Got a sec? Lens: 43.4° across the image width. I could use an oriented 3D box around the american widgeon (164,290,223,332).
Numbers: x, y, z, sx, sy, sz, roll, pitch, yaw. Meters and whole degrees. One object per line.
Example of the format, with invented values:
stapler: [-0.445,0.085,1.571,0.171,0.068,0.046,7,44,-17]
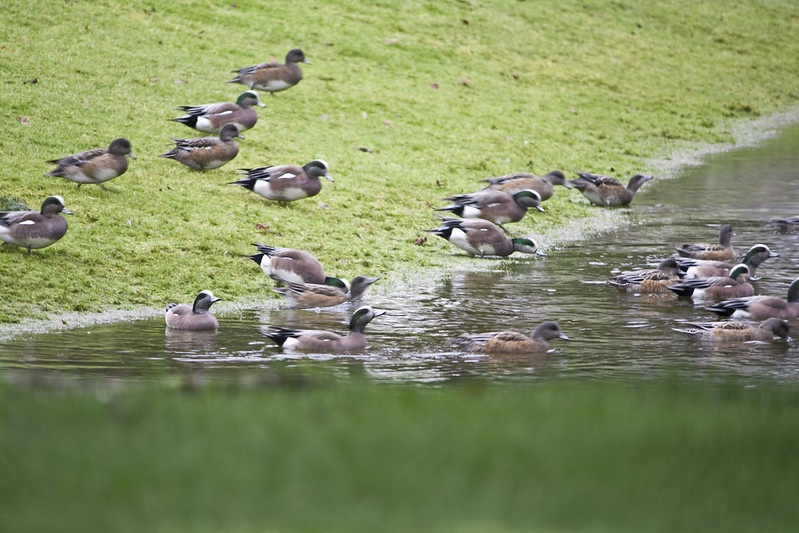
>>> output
american widgeon: [-3.383,0.757,16.742,0.882,0.721,1.241,-4,11,-35]
